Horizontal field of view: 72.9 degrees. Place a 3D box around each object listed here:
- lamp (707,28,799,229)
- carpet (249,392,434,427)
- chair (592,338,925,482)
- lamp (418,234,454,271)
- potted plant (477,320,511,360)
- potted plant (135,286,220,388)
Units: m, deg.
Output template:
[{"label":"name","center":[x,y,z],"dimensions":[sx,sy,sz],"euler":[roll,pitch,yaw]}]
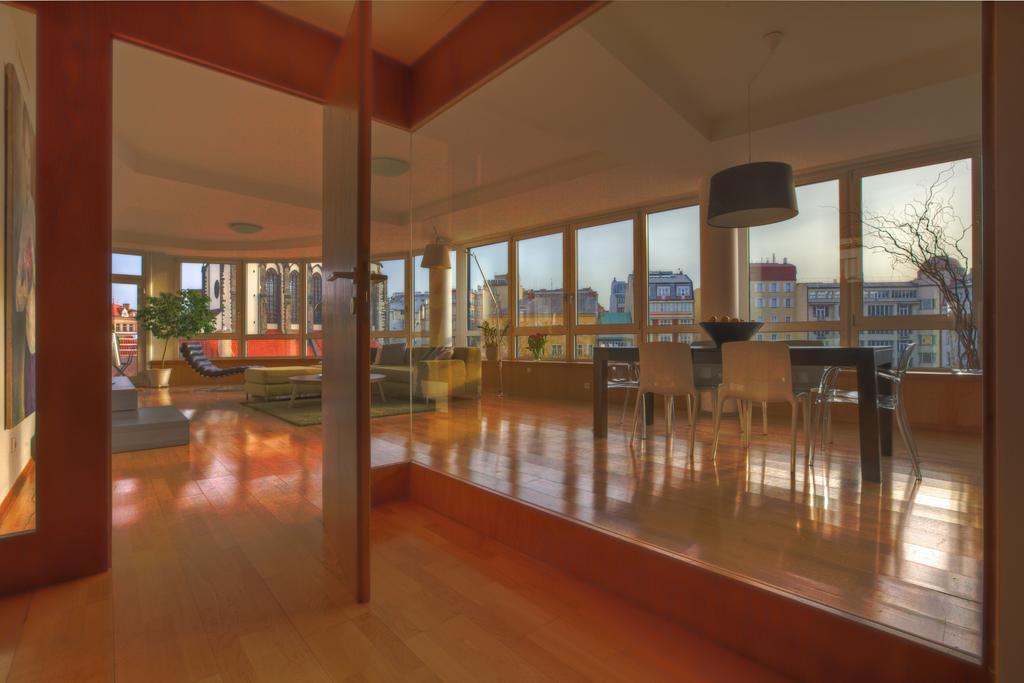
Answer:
[{"label":"lamp","center":[1.745,-1.555,5.012],"dimensions":[0.581,1.424,1.040],"euler":[0,1,23]},{"label":"carpet","center":[-1.878,0.694,7.458],"dimensions":[1.491,0.111,2.349],"euler":[-1,1,-38]},{"label":"chair","center":[1.601,0.404,5.156],"dimensions":[2.201,0.824,1.162],"euler":[0,1,37]},{"label":"lamp","center":[-0.912,-1.066,8.198],"dimensions":[0.343,0.381,0.358],"euler":[1,-2,-1]},{"label":"potted plant","center":[-0.220,-0.034,9.064],"dimensions":[0.371,0.534,0.465],"euler":[0,1,-2]},{"label":"potted plant","center":[-4.981,-0.114,10.655],"dimensions":[1.344,1.597,1.128],"euler":[5,8,-4]}]
